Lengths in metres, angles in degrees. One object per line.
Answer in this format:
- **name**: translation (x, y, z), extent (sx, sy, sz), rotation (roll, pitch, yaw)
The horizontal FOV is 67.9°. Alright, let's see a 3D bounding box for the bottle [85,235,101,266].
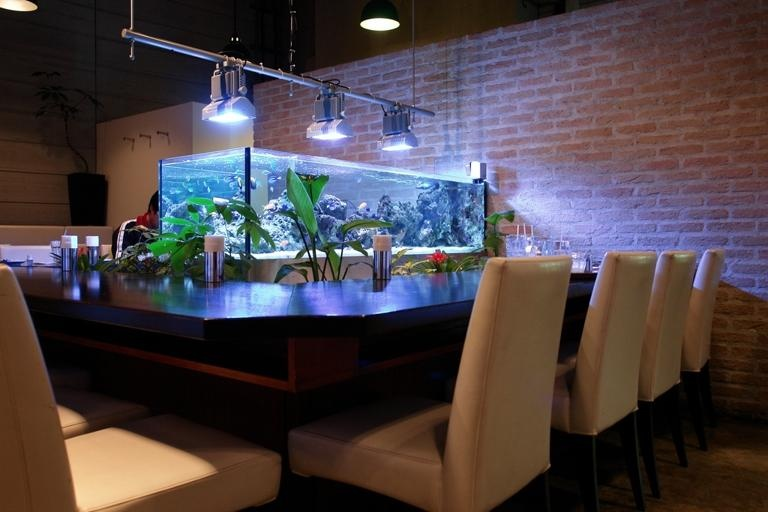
- **bottle**: translation (-1.800, -0.035, 3.514), extent (0.071, 0.171, 0.300), rotation (-4, 7, -28)

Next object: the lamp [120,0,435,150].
- **lamp**: translation (-0.768, -1.134, 4.059), extent (1.191, 0.679, 2.298), rotation (6, 8, 44)

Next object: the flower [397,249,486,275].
- **flower**: translation (0.409, 0.060, 3.823), extent (0.331, 0.183, 0.331), rotation (-1, -6, -7)

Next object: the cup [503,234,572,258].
- **cup**: translation (0.964, -0.063, 3.526), extent (0.277, 0.131, 0.364), rotation (0, 0, 7)
